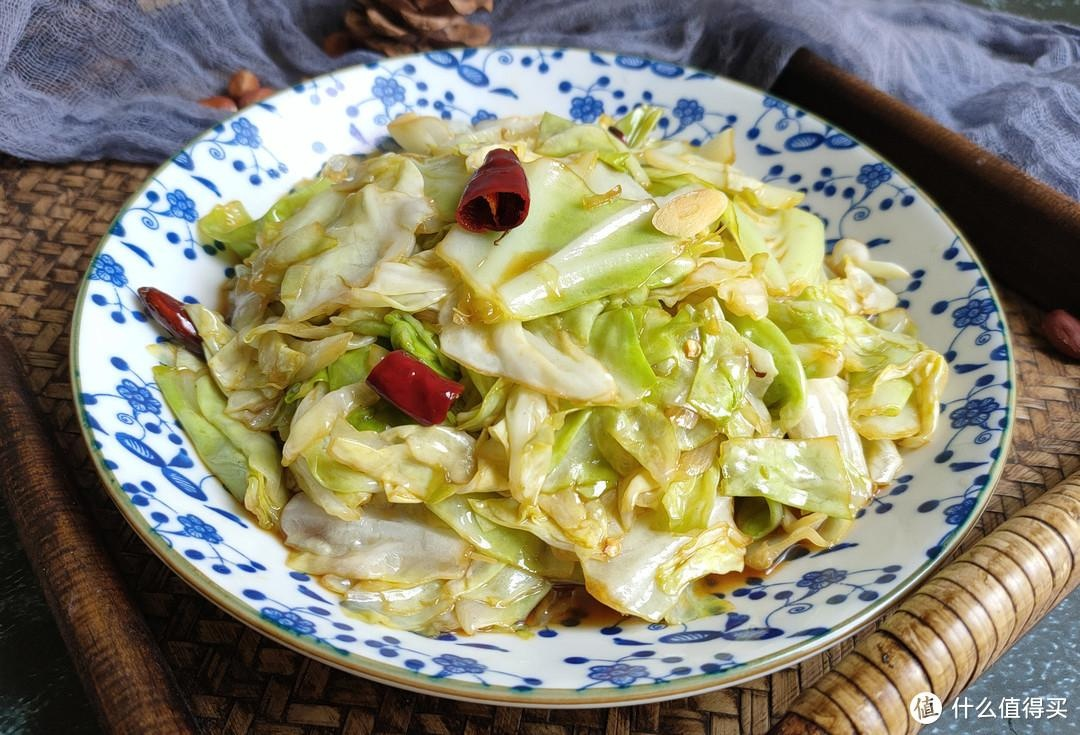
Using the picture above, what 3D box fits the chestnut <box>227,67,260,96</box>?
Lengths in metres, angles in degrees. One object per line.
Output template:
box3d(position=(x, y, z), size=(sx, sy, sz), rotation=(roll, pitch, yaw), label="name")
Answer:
box3d(position=(-1.342, -1.286, 4.483), size=(0.151, 0.087, 0.121), rotation=(-2, 91, -6), label="chestnut")
